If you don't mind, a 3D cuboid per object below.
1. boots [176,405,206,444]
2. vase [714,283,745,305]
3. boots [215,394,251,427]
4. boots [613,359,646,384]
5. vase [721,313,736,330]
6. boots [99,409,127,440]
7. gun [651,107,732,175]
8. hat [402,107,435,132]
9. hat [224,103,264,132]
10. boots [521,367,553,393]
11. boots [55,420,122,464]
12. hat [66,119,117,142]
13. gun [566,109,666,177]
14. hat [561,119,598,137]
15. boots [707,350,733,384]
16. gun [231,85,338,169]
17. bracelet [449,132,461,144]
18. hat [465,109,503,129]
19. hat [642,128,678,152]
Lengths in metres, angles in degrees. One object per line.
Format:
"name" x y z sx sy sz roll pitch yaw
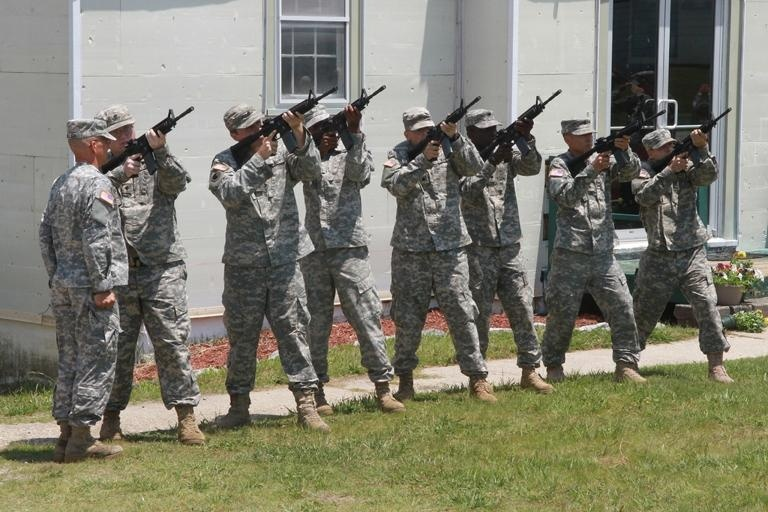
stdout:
"boots" -1.973 1.701 14.498 0.281 0.285 0.258 -5 3 -9
"vase" 4.576 0.476 18.920 0.309 0.205 0.314 5 6 38
"boots" -1.597 1.666 14.937 0.443 0.421 0.208 -1 -22 -22
"boots" 2.707 1.284 15.891 0.419 0.282 0.148 0 6 12
"vase" 4.412 0.848 18.358 0.236 0.184 0.202 -4 34 -1
"boots" -2.795 1.748 14.580 0.322 0.348 0.196 0 1 -25
"gun" 3.911 -1.473 18.251 1.337 0.572 0.206 -35 28 26
"hat" 0.342 -1.498 15.614 0.238 0.166 0.326 -4 6 -7
"hat" -1.473 -1.458 14.789 0.346 0.156 0.266 -16 26 14
"boots" 1.715 1.365 15.794 0.292 0.233 0.471 -5 4 -21
"boots" -2.958 1.840 14.176 0.804 0.527 0.281 -1 4 -12
"hat" -2.938 -1.255 14.144 0.328 0.141 0.210 -4 8 -19
"gun" 2.532 -1.217 15.960 0.133 0.496 1.531 20 28 39
"hat" 2.157 -1.467 16.101 0.276 0.115 0.216 10 15 33
"boots" 3.836 1.257 16.033 0.406 0.384 0.195 1 3 37
"gun" -1.132 -1.326 14.789 0.964 0.547 0.380 -4 3 -7
"bracelet" 0.746 -1.281 15.367 0.119 0.082 0.116 -4 2 4
"hat" 1.086 -1.554 16.142 0.327 0.126 0.230 4 7 20
"hat" 3.178 -1.319 16.582 0.323 0.168 0.255 -18 7 47
